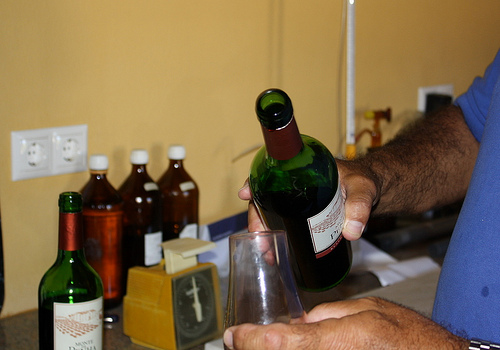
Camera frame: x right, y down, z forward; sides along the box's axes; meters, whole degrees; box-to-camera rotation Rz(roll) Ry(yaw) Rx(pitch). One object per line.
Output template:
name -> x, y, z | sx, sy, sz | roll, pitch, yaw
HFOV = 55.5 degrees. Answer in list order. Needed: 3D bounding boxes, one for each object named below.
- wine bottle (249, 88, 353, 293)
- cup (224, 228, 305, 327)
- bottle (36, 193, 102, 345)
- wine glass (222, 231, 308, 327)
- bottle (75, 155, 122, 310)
wine bottle -> 0.083, 0.035, 0.857 | 0.135, 0.379, 0.135 | -12, 34, 8
cup -> 0.024, 0.186, 0.777 | 0.141, 0.168, 0.146 | -2, -5, 0
bottle -> -0.380, 0.191, 0.928 | 0.156, 0.242, 0.125 | -3, 2, 4
wine glass -> 0.025, 0.159, 0.808 | 0.133, 0.150, 0.135 | -10, 0, 9
bottle -> -0.372, 0.147, 1.200 | 0.117, 0.373, 0.116 | 2, 11, 0
